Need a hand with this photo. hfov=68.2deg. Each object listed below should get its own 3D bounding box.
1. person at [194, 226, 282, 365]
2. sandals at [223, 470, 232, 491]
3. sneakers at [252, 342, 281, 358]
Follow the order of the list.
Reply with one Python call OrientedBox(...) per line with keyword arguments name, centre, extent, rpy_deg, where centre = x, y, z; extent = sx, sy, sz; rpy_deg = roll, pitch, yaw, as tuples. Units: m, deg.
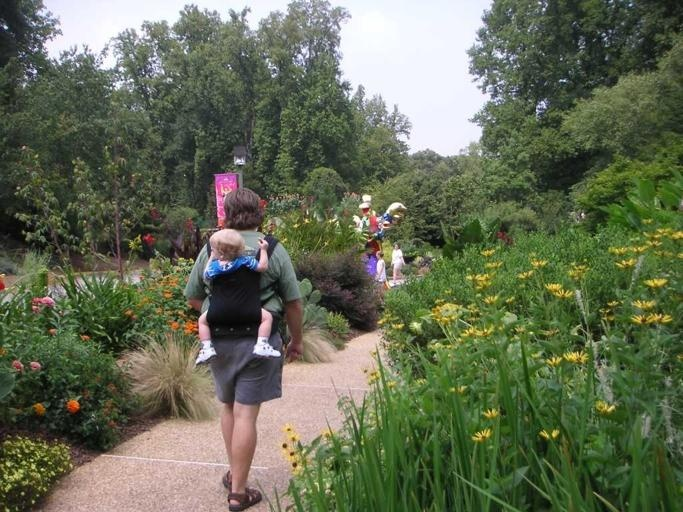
OrientedBox(name="person", centre=(-0.734, 0.274, 3.597), extent=(0.584, 0.930, 0.316), rpy_deg=(-1, 4, -9))
OrientedBox(name="sandals", centre=(-0.870, 1.729, 3.843), extent=(0.058, 0.072, 0.162), rpy_deg=(10, 34, -19))
OrientedBox(name="sneakers", centre=(-0.530, 0.668, 3.570), extent=(0.194, 0.107, 0.080), rpy_deg=(7, 38, -27))
